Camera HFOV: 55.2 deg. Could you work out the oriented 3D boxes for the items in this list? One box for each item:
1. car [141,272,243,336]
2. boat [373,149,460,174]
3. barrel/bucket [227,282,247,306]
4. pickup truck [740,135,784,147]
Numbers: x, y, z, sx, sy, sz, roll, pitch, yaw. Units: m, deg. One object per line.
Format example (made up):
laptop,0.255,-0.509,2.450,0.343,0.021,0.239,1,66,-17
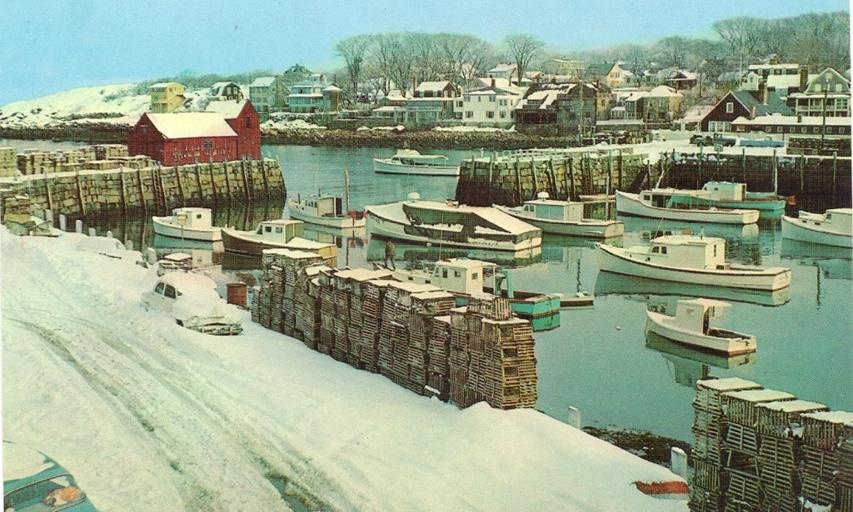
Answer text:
car,-7.098,1.584,24.711,1.573,1.160,3.548,-10,18,-38
boat,-0.162,-7.487,67.561,8.905,2.622,2.794,4,8,10
barrel/bucket,-6.397,1.321,27.522,0.778,0.714,0.737,0,-6,0
pickup truck,23.162,-7.731,56.000,2.498,0.692,1.657,2,7,15
